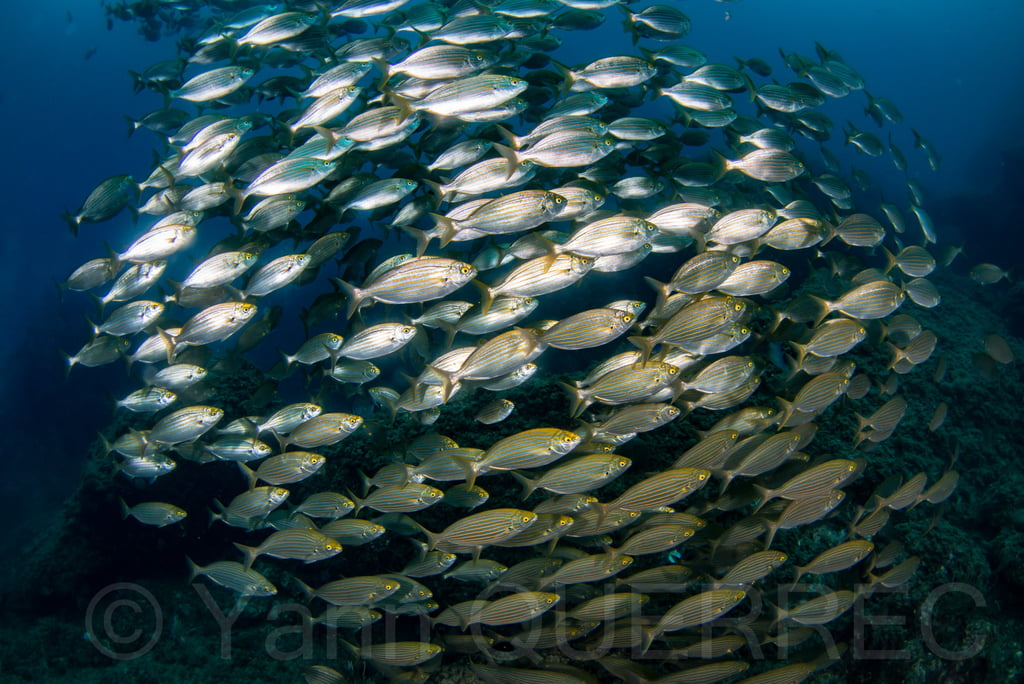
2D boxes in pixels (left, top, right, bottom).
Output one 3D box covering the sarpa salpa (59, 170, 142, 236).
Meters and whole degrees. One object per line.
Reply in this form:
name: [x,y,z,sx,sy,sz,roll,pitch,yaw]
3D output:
sarpa salpa: [-6.580,-2.202,14.598,1.240,0.841,0.546,-9,17,-8]
